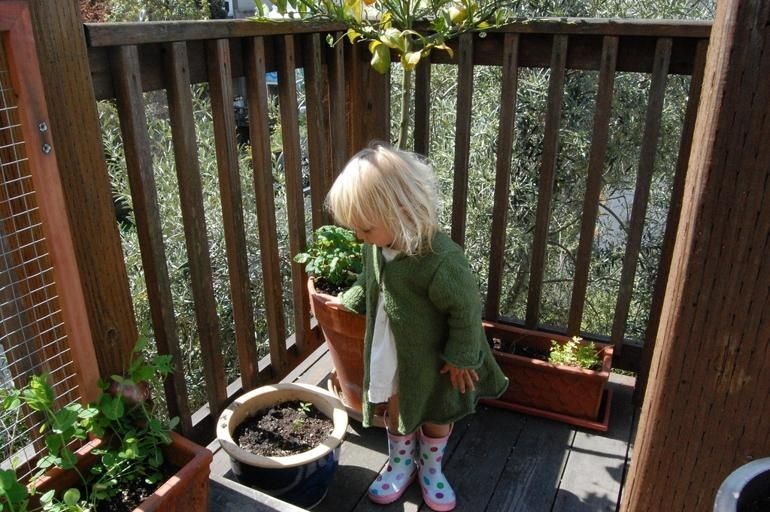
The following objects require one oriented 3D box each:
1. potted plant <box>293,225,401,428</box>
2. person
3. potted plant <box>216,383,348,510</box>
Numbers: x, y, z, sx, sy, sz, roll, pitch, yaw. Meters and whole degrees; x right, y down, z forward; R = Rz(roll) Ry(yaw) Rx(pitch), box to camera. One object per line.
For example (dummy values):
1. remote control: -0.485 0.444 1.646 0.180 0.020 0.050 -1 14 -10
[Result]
1. potted plant: -0.113 0.217 2.205 0.599 0.708 0.659 1 24 5
2. person: 0.116 0.264 1.791 0.588 1.216 0.394 5 25 14
3. potted plant: -0.366 0.667 1.870 0.405 0.269 0.420 16 28 29
